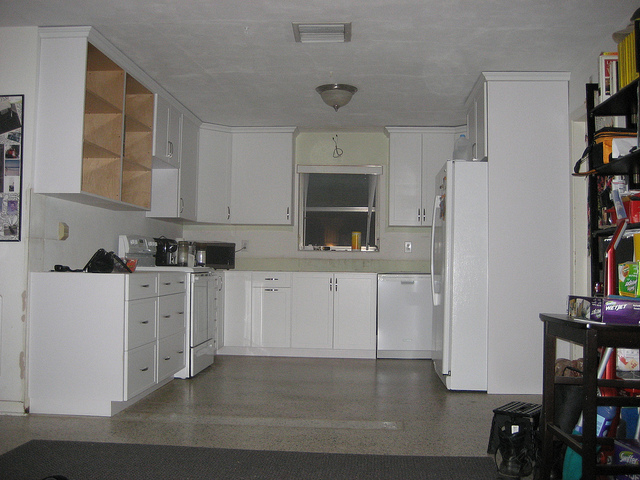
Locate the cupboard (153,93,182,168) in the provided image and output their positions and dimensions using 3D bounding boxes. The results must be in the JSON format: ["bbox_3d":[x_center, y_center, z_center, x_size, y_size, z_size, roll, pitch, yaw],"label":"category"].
[{"bbox_3d":[-1.462,-1.062,5.360,0.214,0.649,0.243,2,2,-2],"label":"cupboard"}]

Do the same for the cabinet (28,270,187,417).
[{"bbox_3d":[-1.680,0.768,4.649,0.842,1.272,1.474,0,-1,5],"label":"cabinet"}]

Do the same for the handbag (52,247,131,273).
[{"bbox_3d":[-1.738,0.179,4.273,0.369,0.134,0.269,1,-1,-9],"label":"handbag"}]

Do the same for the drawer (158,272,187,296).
[{"bbox_3d":[-1.267,0.364,4.712,0.144,0.115,0.249,0,-1,7],"label":"drawer"}]

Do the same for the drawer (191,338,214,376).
[{"bbox_3d":[-1.125,1.104,5.290,0.191,0.196,0.303,-1,-2,7],"label":"drawer"}]

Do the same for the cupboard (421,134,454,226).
[{"bbox_3d":[1.242,-0.701,6.352,0.307,0.970,0.517,2,2,6],"label":"cupboard"}]

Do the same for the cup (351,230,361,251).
[{"bbox_3d":[0.424,-0.005,6.605,0.113,0.251,0.104,1,-3,0],"label":"cup"}]

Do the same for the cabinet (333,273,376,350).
[{"bbox_3d":[0.403,0.769,6.224,0.508,0.779,0.462,3,1,8],"label":"cabinet"}]

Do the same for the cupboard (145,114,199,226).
[{"bbox_3d":[-1.540,-0.744,5.895,0.310,0.959,0.611,2,1,-2],"label":"cupboard"}]

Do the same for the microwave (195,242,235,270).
[{"bbox_3d":[-1.105,0.156,6.101,0.412,0.300,0.263,0,-3,-21],"label":"microwave"}]

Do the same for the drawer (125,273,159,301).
[{"bbox_3d":[-1.362,0.343,4.231,0.147,0.126,0.276,0,-1,5],"label":"drawer"}]

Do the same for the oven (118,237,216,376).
[{"bbox_3d":[-1.447,0.618,5.404,0.702,1.341,0.790,-3,-3,11],"label":"oven"}]

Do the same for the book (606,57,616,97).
[{"bbox_3d":[1.805,-1.022,3.445,0.039,0.240,0.051,0,-3,9],"label":"book"}]

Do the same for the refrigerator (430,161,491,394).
[{"bbox_3d":[1.184,0.308,4.945,0.338,1.989,0.616,2,-3,-25],"label":"refrigerator"}]
